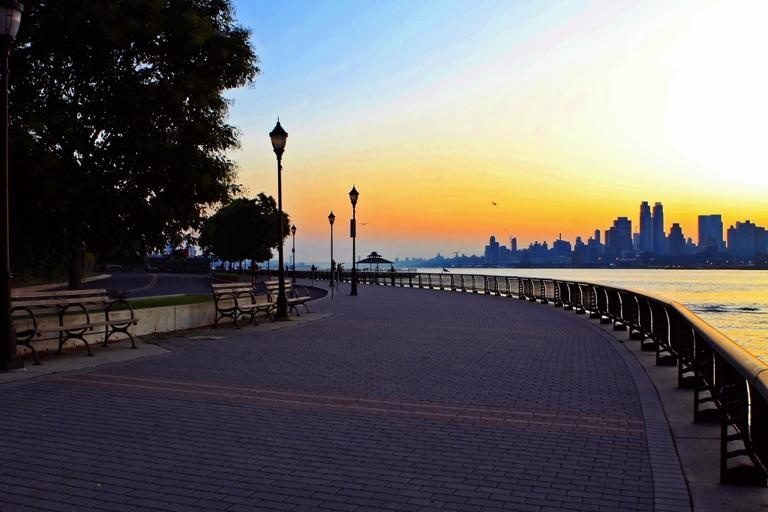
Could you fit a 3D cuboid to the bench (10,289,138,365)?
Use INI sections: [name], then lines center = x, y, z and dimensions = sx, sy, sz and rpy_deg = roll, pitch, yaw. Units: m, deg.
[bench]
center = -6.856, 1.501, 14.960
dimensions = 1.056, 1.263, 2.990
rpy_deg = 3, 0, 16
